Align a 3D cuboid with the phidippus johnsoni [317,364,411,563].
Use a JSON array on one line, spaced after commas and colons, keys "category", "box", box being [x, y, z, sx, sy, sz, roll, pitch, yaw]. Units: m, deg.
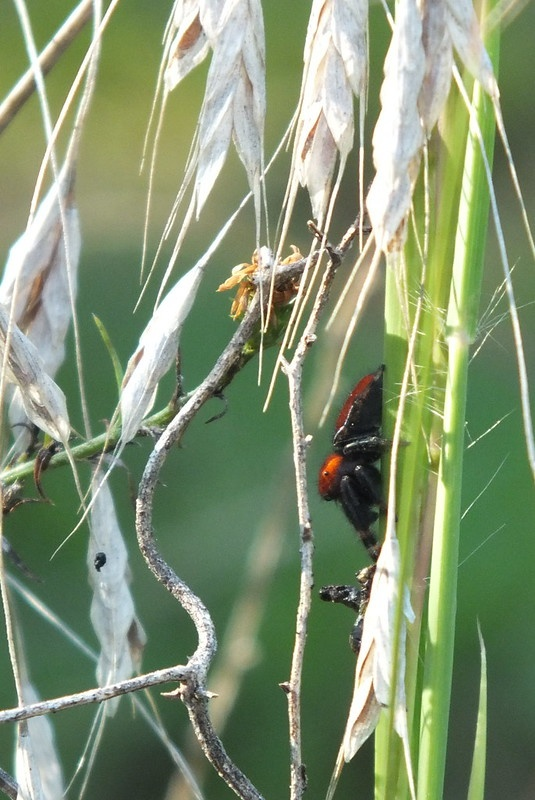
[{"category": "phidippus johnsoni", "box": [0.038, 0.027, 0.514, 0.016, 0.073, 0.045, 7, 2, 0]}]
